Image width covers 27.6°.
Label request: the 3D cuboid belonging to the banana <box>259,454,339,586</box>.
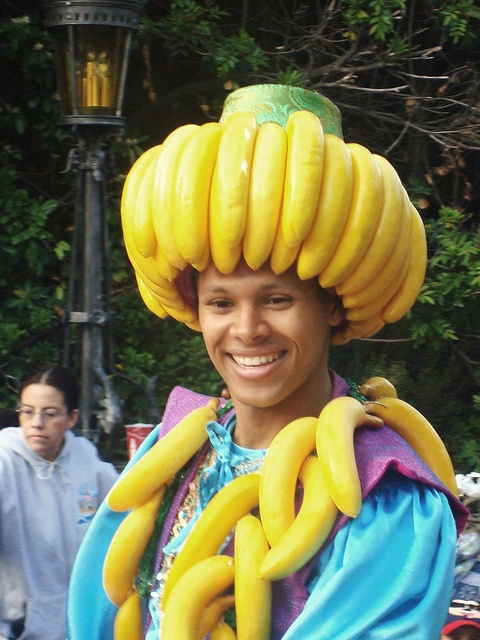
[{"bbox_3d":[0.169,0.524,2.580,0.163,0.293,0.200,4,4,21],"label":"banana"}]

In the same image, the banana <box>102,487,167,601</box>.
[{"bbox_3d":[-0.253,0.660,2.902,0.115,0.349,0.131,14,-22,29],"label":"banana"}]

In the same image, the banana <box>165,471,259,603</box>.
[{"bbox_3d":[-0.068,0.613,2.717,0.095,0.403,0.135,46,-4,6],"label":"banana"}]
